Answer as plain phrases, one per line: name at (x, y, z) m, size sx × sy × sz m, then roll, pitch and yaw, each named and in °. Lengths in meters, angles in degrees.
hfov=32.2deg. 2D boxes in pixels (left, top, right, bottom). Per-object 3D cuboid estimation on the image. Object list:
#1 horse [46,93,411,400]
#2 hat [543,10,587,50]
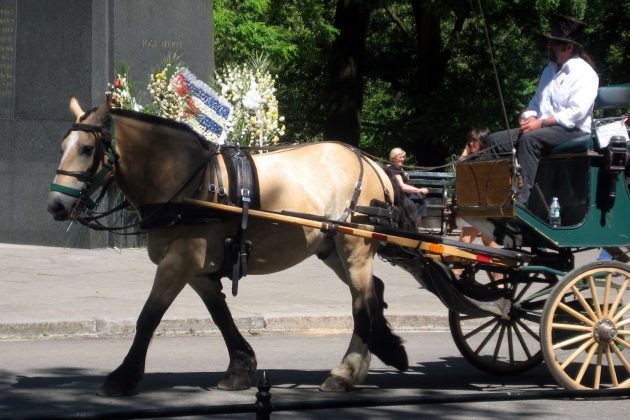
horse at (-1.216, 0.465, 14.372) m, size 1.706 × 3.457 × 6.294 m, roll 11°, pitch 6°, yaw 40°
hat at (3.291, -2.386, 14.674) m, size 0.586 × 0.247 × 0.574 m, roll 2°, pitch 15°, yaw -45°
